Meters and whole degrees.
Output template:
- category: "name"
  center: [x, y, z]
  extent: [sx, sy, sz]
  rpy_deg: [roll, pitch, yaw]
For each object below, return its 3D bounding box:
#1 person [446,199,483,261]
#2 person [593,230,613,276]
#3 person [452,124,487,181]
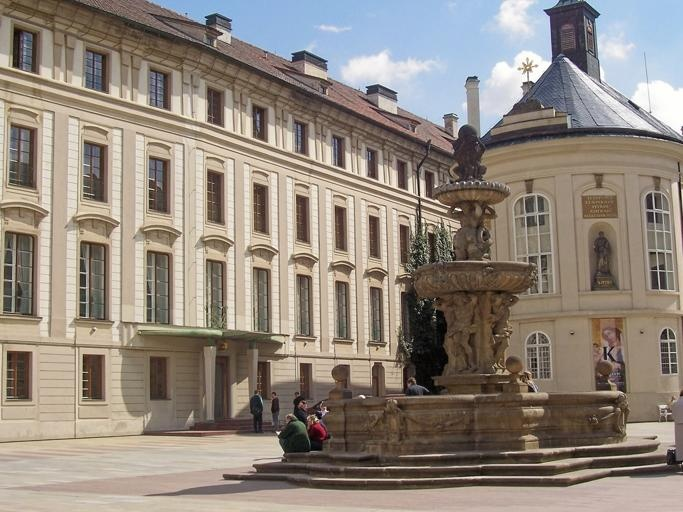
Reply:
- category: "person"
  center: [3.285, -0.626, 27.757]
  extent: [0.819, 1.570, 0.638]
  rpy_deg: [-2, -10, 7]
- category: "person"
  center: [11.478, -0.123, 47.249]
  extent: [0.747, 1.892, 0.547]
  rpy_deg: [-3, -10, 10]
- category: "person"
  center: [3.360, -2.694, 28.340]
  extent: [0.833, 1.764, 1.338]
  rpy_deg: [-2, -10, 6]
